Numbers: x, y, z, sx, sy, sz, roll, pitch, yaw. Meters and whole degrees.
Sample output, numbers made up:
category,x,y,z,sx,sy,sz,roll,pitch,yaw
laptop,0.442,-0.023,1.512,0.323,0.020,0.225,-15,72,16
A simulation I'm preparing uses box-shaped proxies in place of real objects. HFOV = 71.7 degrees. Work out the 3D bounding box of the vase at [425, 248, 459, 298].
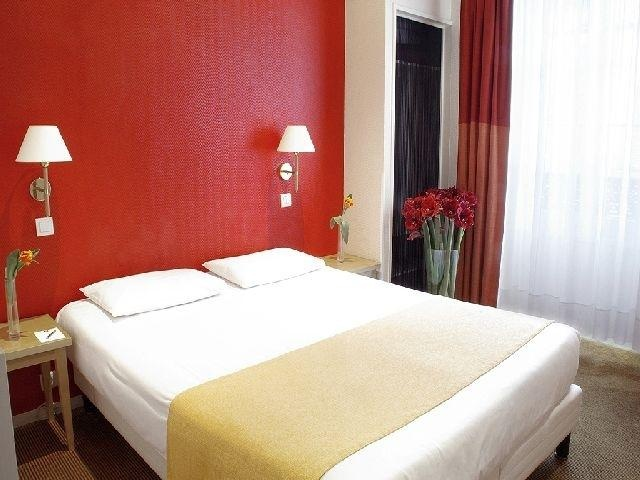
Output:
category,x,y,z,sx,sy,sz,roll,pitch,yaw
vase,1.084,0.266,3.826,0.248,0.438,0.266,-9,-14,37

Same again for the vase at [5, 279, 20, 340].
category,x,y,z,sx,sy,sz,roll,pitch,yaw
vase,-1.742,0.381,2.492,0.070,0.337,0.163,-10,13,-37

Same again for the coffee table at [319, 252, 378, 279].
category,x,y,z,sx,sy,sz,roll,pitch,yaw
coffee table,0.287,0.225,4.044,0.284,0.198,0.285,13,17,43

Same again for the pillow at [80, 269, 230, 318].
category,x,y,z,sx,sy,sz,roll,pitch,yaw
pillow,-1.019,0.329,2.860,0.601,0.137,0.379,-6,16,-42

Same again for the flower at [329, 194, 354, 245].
category,x,y,z,sx,sy,sz,roll,pitch,yaw
flower,0.202,-0.167,4.134,0.230,0.492,0.497,-1,11,4

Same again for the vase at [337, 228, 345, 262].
category,x,y,z,sx,sy,sz,roll,pitch,yaw
vase,0.184,0.049,4.006,0.056,0.318,0.155,-2,11,-2

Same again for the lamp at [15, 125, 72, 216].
category,x,y,z,sx,sy,sz,roll,pitch,yaw
lamp,-1.645,-0.409,2.667,0.289,0.564,0.310,-8,12,-30

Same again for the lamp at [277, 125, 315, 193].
category,x,y,z,sx,sy,sz,roll,pitch,yaw
lamp,-0.202,-0.683,3.775,0.293,0.560,0.325,4,11,14
